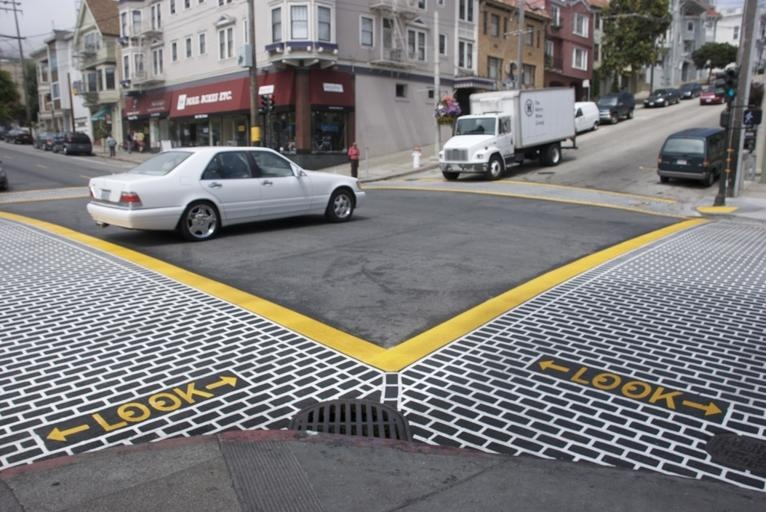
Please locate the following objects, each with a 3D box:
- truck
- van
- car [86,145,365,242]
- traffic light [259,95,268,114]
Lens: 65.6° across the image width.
[{"bbox_3d":[5.674,-5.566,26.949,7.375,3.349,2.844,-17,19,-42],"label":"truck"},{"bbox_3d":[11.948,-3.831,23.002,1.870,1.411,3.352,8,26,38],"label":"van"},{"bbox_3d":[-3.172,-1.335,12.767,5.253,1.351,2.265,-11,17,-41],"label":"car"},{"bbox_3d":[-5.598,-7.056,27.787,0.235,0.754,0.595,-7,18,-27],"label":"traffic light"}]
